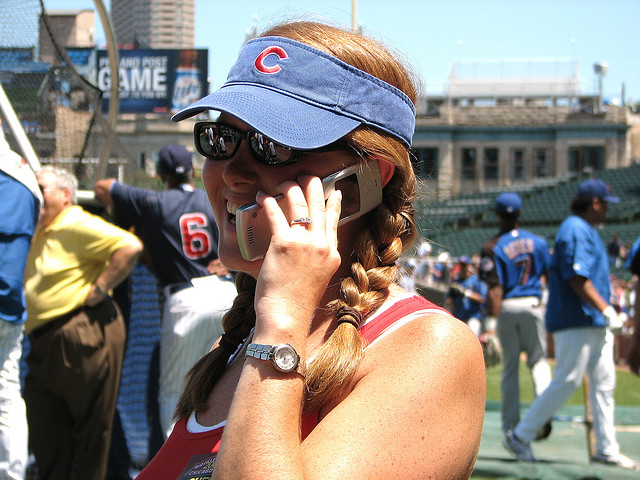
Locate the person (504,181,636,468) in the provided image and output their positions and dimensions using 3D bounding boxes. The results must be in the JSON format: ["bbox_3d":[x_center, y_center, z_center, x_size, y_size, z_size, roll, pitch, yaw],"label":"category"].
[{"bbox_3d":[2.277,0.863,9.618,1.072,2.148,0.613,2,3,39],"label":"person"}]

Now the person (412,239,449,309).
[{"bbox_3d":[2.448,0.715,22.149,0.402,1.450,0.418,-6,29,26],"label":"person"}]

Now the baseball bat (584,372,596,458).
[{"bbox_3d":[2.365,1.472,9.476,0.061,0.727,0.070,-9,0,5],"label":"baseball bat"}]
